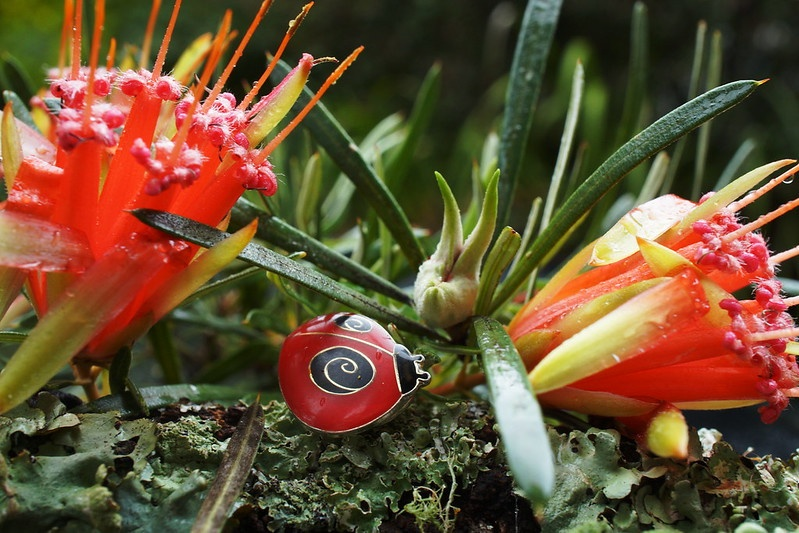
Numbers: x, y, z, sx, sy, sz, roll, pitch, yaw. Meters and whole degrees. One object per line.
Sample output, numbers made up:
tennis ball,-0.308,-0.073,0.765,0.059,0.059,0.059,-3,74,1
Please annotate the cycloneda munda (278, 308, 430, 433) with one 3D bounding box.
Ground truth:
cycloneda munda,-0.050,0.122,0.916,0.160,0.053,0.132,-2,75,4
